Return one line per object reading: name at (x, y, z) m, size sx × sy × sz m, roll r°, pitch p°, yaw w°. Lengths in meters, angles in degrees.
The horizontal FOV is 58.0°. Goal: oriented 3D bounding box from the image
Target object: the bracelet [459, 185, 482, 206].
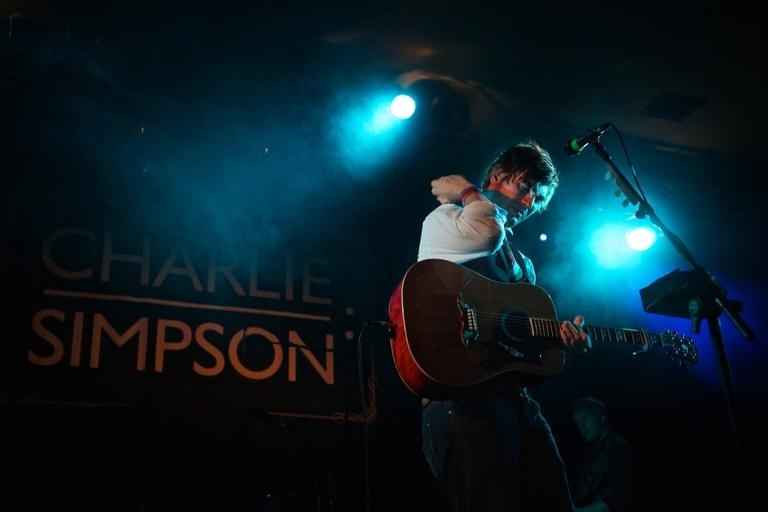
bracelet at (0.670, -0.483, 5.501) m, size 0.129 × 0.056 × 0.151 m, roll -27°, pitch 2°, yaw -15°
